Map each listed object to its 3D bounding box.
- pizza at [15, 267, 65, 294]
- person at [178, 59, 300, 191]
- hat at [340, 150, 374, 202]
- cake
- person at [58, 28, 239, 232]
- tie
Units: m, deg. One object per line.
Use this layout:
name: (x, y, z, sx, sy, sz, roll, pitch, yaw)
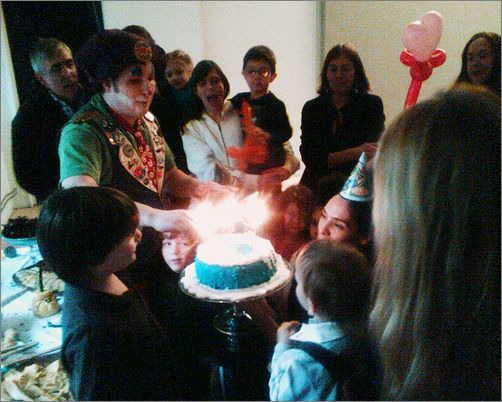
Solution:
pizza: (-1.437, 0.536, 3.249, 0.292, 0.051, 0.468, 26, -2, -8)
person: (-0.117, -0.440, 3.054, 0.726, 0.907, 0.638, -6, 7, 30)
hat: (0.527, -0.119, 2.361, 0.185, 0.204, 0.185, 4, 17, 9)
cake: (-0.171, 0.344, 2.418, 0.455, 0.123, 0.464, 14, 9, 41)
person: (-0.553, -0.278, 2.595, 0.883, 1.161, 0.933, 14, 17, 31)
tie: (-0.599, -0.285, 2.661, 0.145, 0.409, 0.018, -17, -9, -40)
